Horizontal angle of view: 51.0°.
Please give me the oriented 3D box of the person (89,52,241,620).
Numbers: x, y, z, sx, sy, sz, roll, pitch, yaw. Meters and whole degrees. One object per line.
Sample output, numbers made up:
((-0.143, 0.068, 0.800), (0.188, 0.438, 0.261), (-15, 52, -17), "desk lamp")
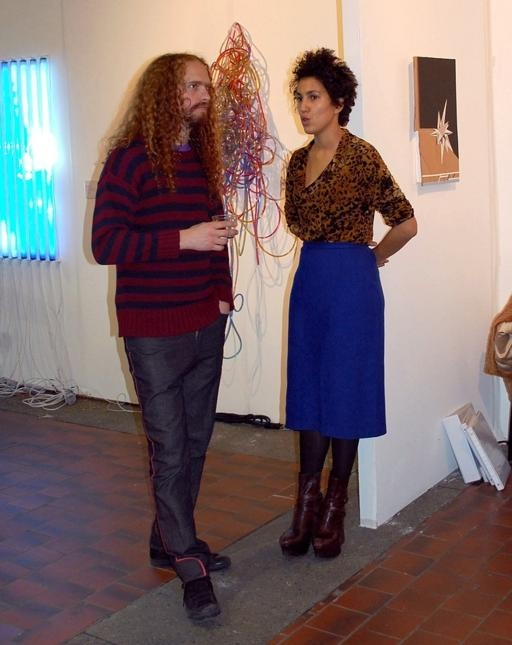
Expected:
((-0.224, 0.050, 1.483), (0.345, 1.505, 0.483), (-2, 0, -5), "person")

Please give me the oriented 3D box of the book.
((1.077, 0.582, 2.574), (0.250, 0.368, 0.355), (-2, 1, 37), "book")

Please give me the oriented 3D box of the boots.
((0.211, 0.689, 1.964), (0.213, 0.279, 0.288), (0, -11, 21), "boots")

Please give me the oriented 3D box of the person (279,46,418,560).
((0.285, -0.029, 1.770), (0.483, 1.606, 0.366), (-2, 0, 18), "person")
